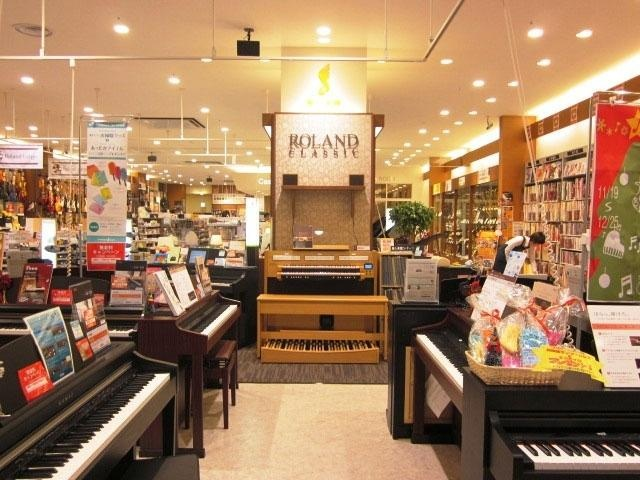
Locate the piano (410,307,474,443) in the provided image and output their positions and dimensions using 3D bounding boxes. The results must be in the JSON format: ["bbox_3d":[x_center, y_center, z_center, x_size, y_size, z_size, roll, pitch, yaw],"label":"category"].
[{"bbox_3d":[0.949,1.026,3.953,0.335,1.131,1.128,1,2,5],"label":"piano"}]

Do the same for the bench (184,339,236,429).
[{"bbox_3d":[-1.162,1.475,5.017,0.386,0.677,1.257,4,-8,-16],"label":"bench"}]

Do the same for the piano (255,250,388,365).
[{"bbox_3d":[-0.001,0.945,7.001,1.530,1.722,1.380,0,-4,1],"label":"piano"}]

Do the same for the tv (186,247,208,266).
[{"bbox_3d":[-1.691,0.238,6.756,0.176,0.201,0.142,4,-20,-21],"label":"tv"}]
